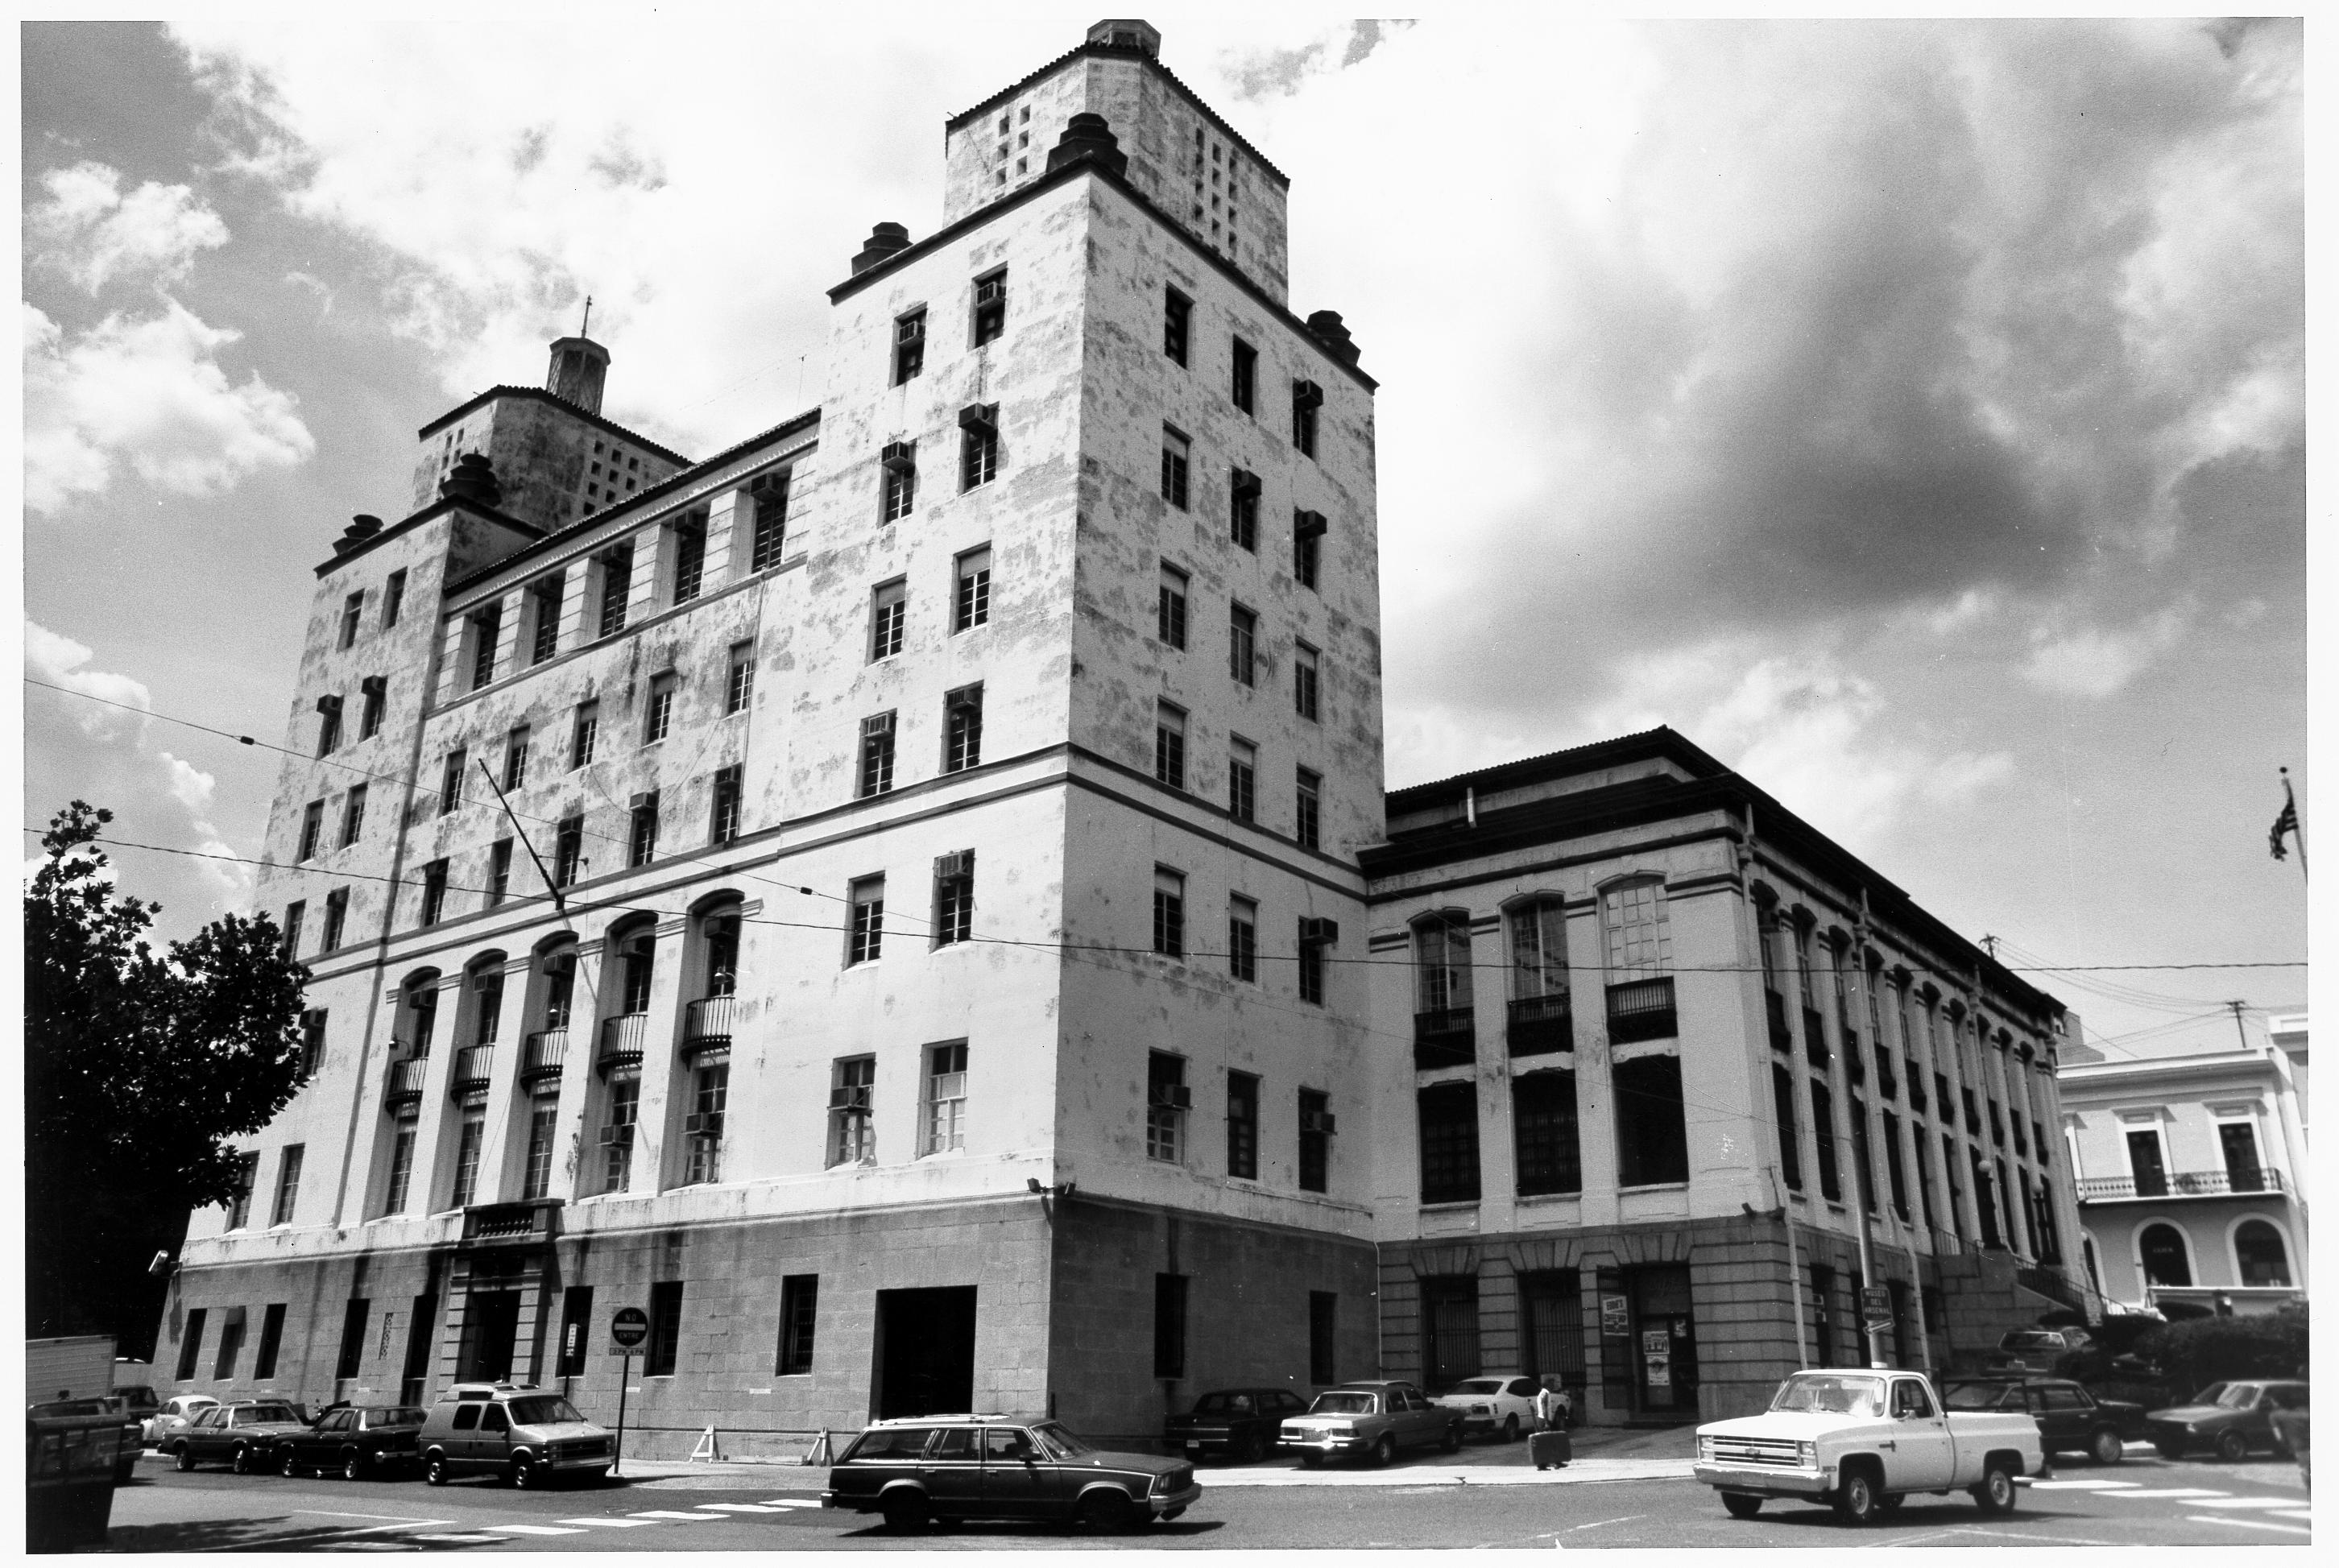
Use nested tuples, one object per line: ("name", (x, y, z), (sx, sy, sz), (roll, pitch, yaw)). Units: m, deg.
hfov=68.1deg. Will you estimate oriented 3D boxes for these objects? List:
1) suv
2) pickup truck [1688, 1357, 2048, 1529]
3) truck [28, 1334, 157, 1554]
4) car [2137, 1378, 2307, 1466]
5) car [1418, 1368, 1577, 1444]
("suv", (-3.594, 13.822, 34.184), (7.286, 2.237, 3.079), (-2, -12, 7))
("pickup truck", (13.912, 13.056, 34.317), (6.899, 2.465, 3.403), (10, -19, -29))
("truck", (-21.190, 12.550, 33.575), (2.850, 2.240, 5.720), (17, 0, -38))
("car", (25.632, 15.312, 41.764), (3.119, 1.255, 1.971), (13, -26, -15))
("car", (9.043, 16.962, 47.203), (3.735, 1.178, 1.674), (8, -14, -43))
